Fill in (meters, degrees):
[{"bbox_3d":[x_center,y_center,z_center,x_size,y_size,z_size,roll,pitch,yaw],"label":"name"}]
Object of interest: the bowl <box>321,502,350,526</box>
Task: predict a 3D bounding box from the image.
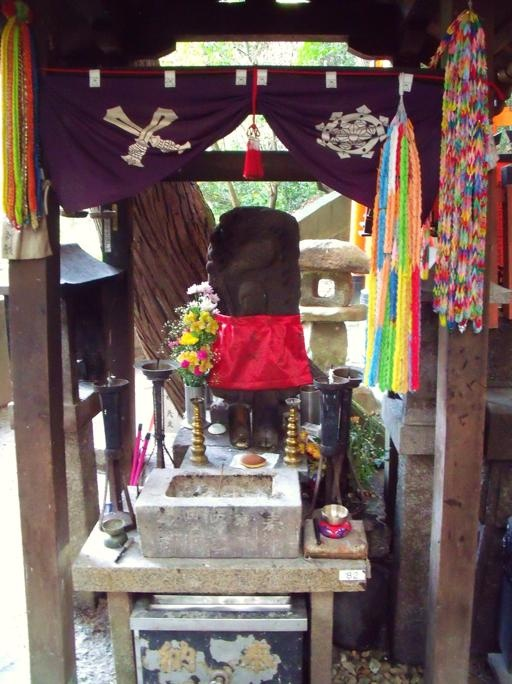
[{"bbox_3d":[0.350,0.789,3.162,0.119,0.075,0.120,2,3,0],"label":"bowl"}]
